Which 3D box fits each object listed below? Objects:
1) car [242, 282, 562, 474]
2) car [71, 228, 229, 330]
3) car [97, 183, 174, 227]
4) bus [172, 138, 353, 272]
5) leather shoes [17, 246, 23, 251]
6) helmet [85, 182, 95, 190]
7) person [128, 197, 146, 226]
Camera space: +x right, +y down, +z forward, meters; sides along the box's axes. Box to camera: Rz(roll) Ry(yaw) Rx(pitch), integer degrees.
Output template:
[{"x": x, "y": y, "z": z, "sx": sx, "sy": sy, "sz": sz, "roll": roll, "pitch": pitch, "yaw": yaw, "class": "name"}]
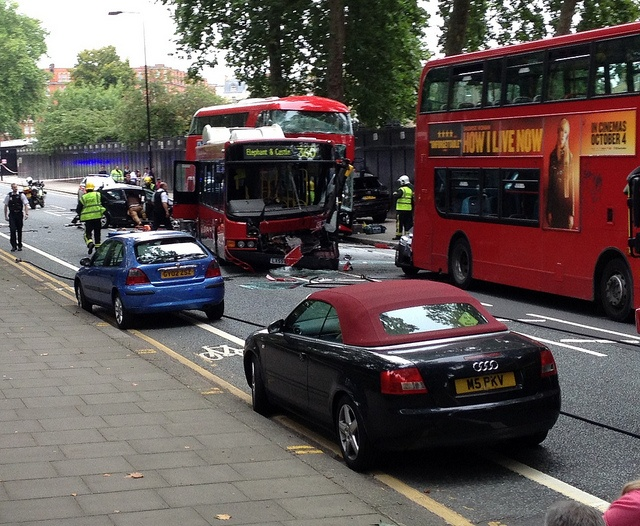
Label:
[{"x": 0.643, "y": 1.004, "z": 5.931, "sx": 1.469, "sy": 1.560, "sz": 2.752, "roll": -3, "pitch": 5, "yaw": -42, "class": "car"}, {"x": -4.098, "y": 0.222, "z": 14.182, "sx": 2.341, "sy": 1.820, "sz": 4.454, "roll": -6, "pitch": 9, "yaw": -36, "class": "car"}, {"x": -10.786, "y": -3.251, "z": 34.864, "sx": 4.502, "sy": 1.989, "sz": 2.557, "roll": -7, "pitch": 8, "yaw": -13, "class": "car"}, {"x": -2.270, "y": -2.030, "z": 20.214, "sx": 5.881, "sy": 4.523, "sz": 2.743, "roll": 3, "pitch": 5, "yaw": 36, "class": "bus"}, {"x": -12.864, "y": -0.637, "z": 26.051, "sx": 0.181, "sy": 0.194, "sz": 0.184, "roll": 3, "pitch": 2, "yaw": -2, "class": "leather shoes"}, {"x": -8.748, "y": -2.886, "z": 22.984, "sx": 0.360, "sy": 0.239, "sz": 0.494, "roll": -1, "pitch": 2, "yaw": -19, "class": "helmet"}, {"x": -9.098, "y": -2.594, "z": 30.314, "sx": 0.847, "sy": 1.484, "sz": 2.725, "roll": -1, "pitch": 4, "yaw": -16, "class": "person"}]
